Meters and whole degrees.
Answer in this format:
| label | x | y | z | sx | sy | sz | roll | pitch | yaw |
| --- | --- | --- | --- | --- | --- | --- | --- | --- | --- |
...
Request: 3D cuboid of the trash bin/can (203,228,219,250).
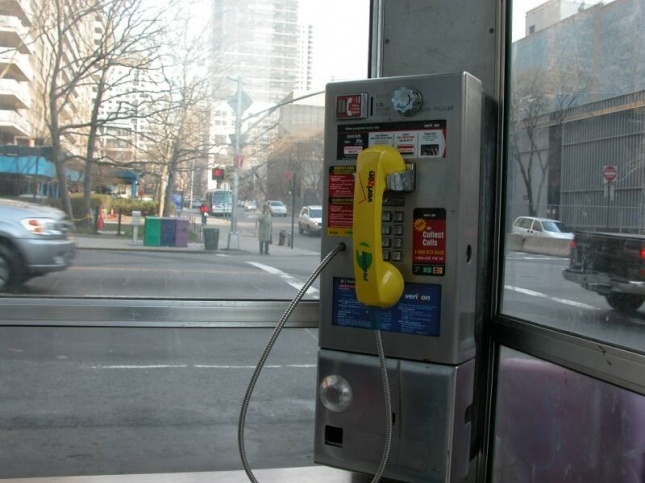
| label | x | y | z | sx | sy | sz | roll | pitch | yaw |
| --- | --- | --- | --- | --- | --- | --- | --- | --- | --- |
| trash bin/can | -0.543 | -0.013 | 3.089 | 0.093 | 0.129 | 0.093 | 0 | 1 | -5 |
